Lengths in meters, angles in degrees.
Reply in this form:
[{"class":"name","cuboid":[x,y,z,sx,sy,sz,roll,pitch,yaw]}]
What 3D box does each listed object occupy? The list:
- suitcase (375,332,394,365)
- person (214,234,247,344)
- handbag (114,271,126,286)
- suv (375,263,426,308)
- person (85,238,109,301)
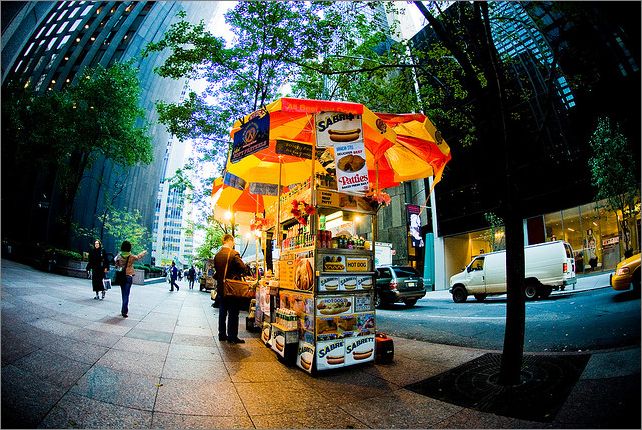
[{"class":"suitcase","cuboid":[1.678,3.685,10.873,0.406,0.665,0.765,2,-9,-22]},{"class":"person","cuboid":[-2.726,2.156,11.586,0.812,3.211,0.931,7,-11,-35]},{"class":"handbag","cuboid":[-6.774,2.068,12.958,0.293,0.477,0.578,9,-12,-40]},{"class":"suv","cuboid":[3.716,3.300,18.250,1.563,1.248,3.285,3,-6,-15]},{"class":"person","cuboid":[-8.987,2.138,15.546,0.759,2.382,1.597,6,-11,-29]}]
